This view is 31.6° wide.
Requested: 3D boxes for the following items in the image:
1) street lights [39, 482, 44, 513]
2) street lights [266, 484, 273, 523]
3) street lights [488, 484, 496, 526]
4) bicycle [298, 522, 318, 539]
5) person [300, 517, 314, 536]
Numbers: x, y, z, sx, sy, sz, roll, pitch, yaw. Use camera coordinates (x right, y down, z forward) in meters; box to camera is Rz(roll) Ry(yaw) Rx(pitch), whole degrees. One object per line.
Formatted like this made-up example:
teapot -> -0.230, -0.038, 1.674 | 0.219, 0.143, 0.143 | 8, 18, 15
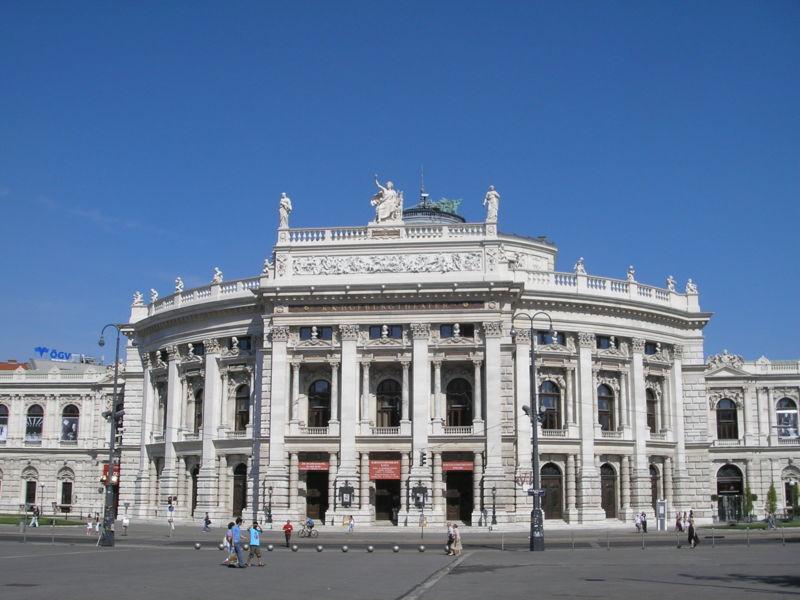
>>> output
street lights -> -34.622, 19.188, 137.269 | 0.595, 2.806, 0.891 | 4, -16, -14
street lights -> -9.642, 15.411, 106.639 | 0.508, 2.805, 0.254 | 1, -15, -1
street lights -> 7.103, 15.254, 104.767 | 0.381, 2.880, 0.268 | -3, -16, 12
bicycle -> -5.952, 16.151, 98.459 | 1.735, 0.990, 0.832 | 8, -42, -13
person -> -6.270, 15.920, 98.450 | 0.823, 1.336, 1.683 | 1, -15, -4
